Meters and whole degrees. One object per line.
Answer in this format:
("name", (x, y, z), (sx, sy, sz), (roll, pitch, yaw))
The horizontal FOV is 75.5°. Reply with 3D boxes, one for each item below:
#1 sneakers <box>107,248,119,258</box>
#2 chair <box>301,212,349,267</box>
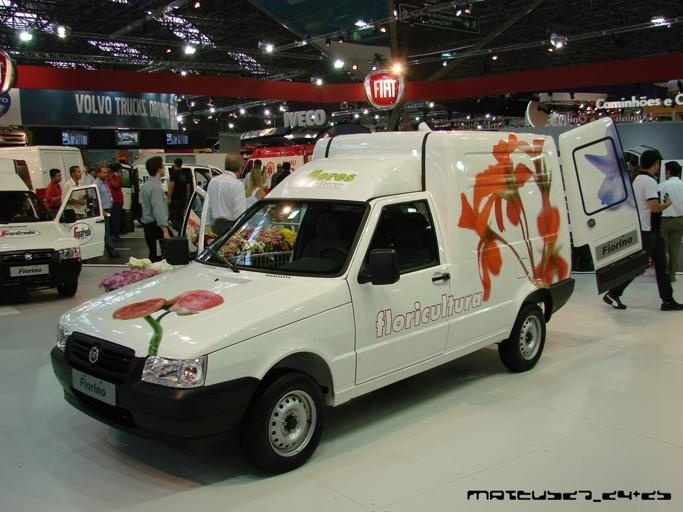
("sneakers", (-6.316, -0.076, 12.199), (0.198, 0.170, 0.493), (1, -1, -16))
("chair", (-0.116, -0.158, 3.932), (0.384, 0.548, 0.477), (8, 18, 22))
